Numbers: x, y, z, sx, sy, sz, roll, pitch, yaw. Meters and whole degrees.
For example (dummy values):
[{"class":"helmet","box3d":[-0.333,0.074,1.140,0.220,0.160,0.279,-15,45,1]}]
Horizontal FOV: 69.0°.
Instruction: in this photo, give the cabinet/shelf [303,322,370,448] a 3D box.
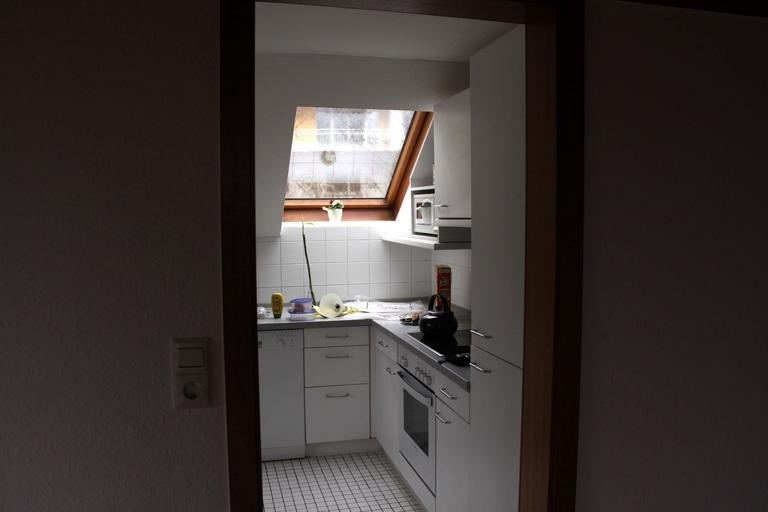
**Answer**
[{"class":"cabinet/shelf","box3d":[-0.365,0.867,4.200,0.518,0.886,0.570,0,12,-1]}]

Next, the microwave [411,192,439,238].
[{"class":"microwave","box3d":[0.275,-0.271,3.699,0.188,0.295,0.334,0,0,-10]}]

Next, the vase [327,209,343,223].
[{"class":"vase","box3d":[-0.403,-0.325,4.508,0.115,0.111,0.124,-1,7,-2]}]

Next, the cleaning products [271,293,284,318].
[{"class":"cleaning products","box3d":[-0.765,0.346,3.989,0.065,0.172,0.128,-1,7,-6]}]

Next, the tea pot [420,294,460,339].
[{"class":"tea pot","box3d":[0.301,0.353,3.307,0.251,0.250,0.176,-5,4,-29]}]

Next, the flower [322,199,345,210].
[{"class":"flower","box3d":[-0.413,-0.410,4.513,0.172,0.091,0.159,-1,7,-7]}]
